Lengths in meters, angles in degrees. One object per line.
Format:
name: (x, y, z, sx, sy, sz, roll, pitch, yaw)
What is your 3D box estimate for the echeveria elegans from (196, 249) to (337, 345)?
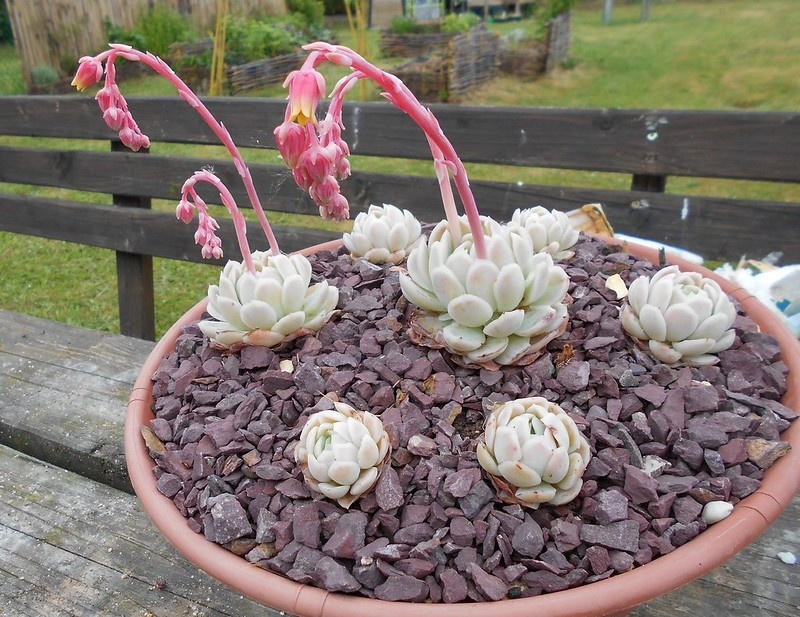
echeveria elegans: (-0.316, -0.054, 1.620, 0.269, 0.150, 0.225, -13, 27, -16)

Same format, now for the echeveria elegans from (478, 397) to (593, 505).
echeveria elegans: (0.273, 0.283, 1.420, 0.205, 0.141, 0.245, 4, 21, 7)

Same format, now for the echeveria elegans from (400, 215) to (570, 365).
echeveria elegans: (0.179, 0.009, 1.596, 0.354, 0.211, 0.320, 12, 49, 8)

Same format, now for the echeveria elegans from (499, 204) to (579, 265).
echeveria elegans: (0.372, -0.193, 1.816, 0.141, 0.097, 0.179, 6, 25, -20)

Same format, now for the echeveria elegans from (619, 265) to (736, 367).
echeveria elegans: (0.646, 0.032, 1.582, 0.216, 0.145, 0.217, -6, 32, 9)

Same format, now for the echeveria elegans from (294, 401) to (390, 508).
echeveria elegans: (-0.121, 0.297, 1.387, 0.164, 0.121, 0.210, -4, 67, 11)

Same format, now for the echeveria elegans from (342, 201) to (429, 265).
echeveria elegans: (-0.053, -0.199, 1.826, 0.174, 0.111, 0.171, 2, 11, 11)
